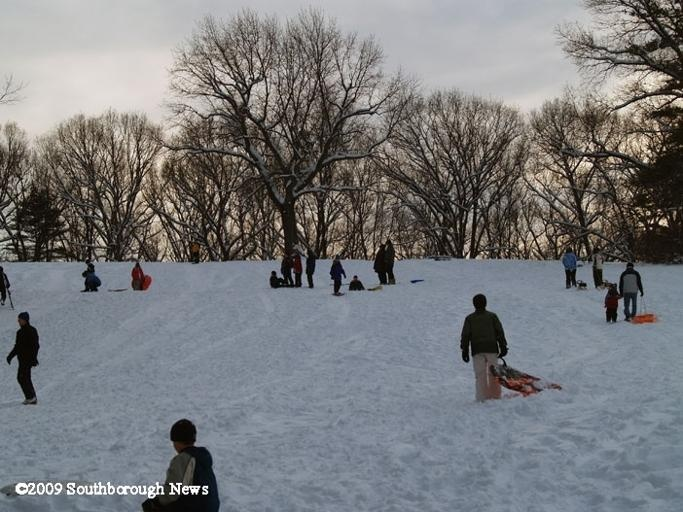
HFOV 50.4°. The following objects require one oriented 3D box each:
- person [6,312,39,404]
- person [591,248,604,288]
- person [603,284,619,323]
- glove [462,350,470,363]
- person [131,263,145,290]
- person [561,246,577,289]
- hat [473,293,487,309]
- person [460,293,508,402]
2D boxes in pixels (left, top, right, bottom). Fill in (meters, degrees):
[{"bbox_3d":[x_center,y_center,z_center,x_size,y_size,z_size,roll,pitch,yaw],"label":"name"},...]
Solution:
[{"bbox_3d":[-8.186,2.665,18.810,0.684,2.345,0.883,-4,8,-25],"label":"person"},{"bbox_3d":[10.201,0.491,28.916,0.430,1.647,1.240,1,8,19],"label":"person"},{"bbox_3d":[8.690,1.520,23.316,0.398,1.205,0.786,2,8,21],"label":"person"},{"bbox_3d":[3.080,2.483,18.028,0.155,0.306,0.479,0,8,7],"label":"glove"},{"bbox_3d":[-8.797,0.852,31.504,0.557,1.148,1.235,-3,8,-18],"label":"person"},{"bbox_3d":[9.397,0.415,29.890,0.486,1.677,1.906,1,8,18],"label":"person"},{"bbox_3d":[3.486,1.163,18.316,0.282,0.442,0.712,1,8,13],"label":"hat"},{"bbox_3d":[3.565,2.356,18.134,1.079,2.760,0.830,0,7,10],"label":"person"}]
